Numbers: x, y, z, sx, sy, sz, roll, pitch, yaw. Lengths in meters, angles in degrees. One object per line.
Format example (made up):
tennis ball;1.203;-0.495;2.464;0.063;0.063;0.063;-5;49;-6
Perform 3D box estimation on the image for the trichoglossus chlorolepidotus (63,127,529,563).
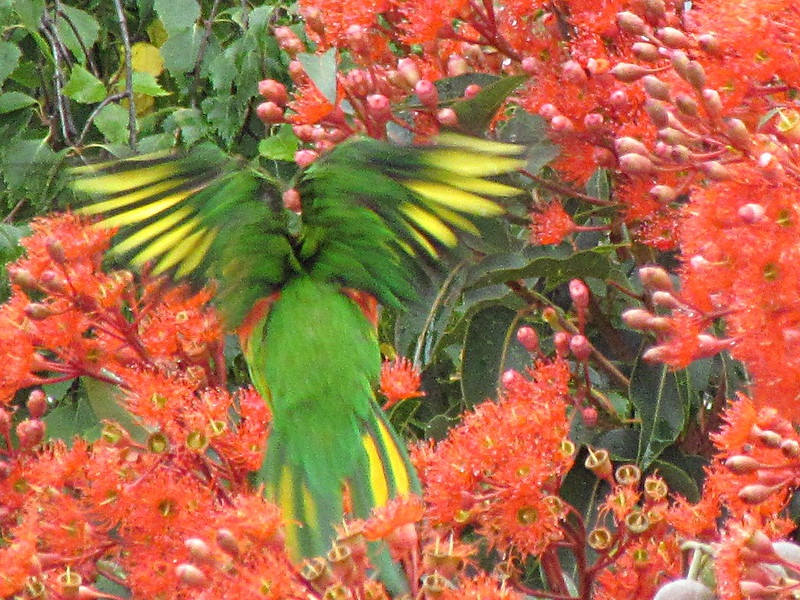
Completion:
trichoglossus chlorolepidotus;-0.076;0.044;1.297;0.444;0.301;0.449;-7;26;-18
